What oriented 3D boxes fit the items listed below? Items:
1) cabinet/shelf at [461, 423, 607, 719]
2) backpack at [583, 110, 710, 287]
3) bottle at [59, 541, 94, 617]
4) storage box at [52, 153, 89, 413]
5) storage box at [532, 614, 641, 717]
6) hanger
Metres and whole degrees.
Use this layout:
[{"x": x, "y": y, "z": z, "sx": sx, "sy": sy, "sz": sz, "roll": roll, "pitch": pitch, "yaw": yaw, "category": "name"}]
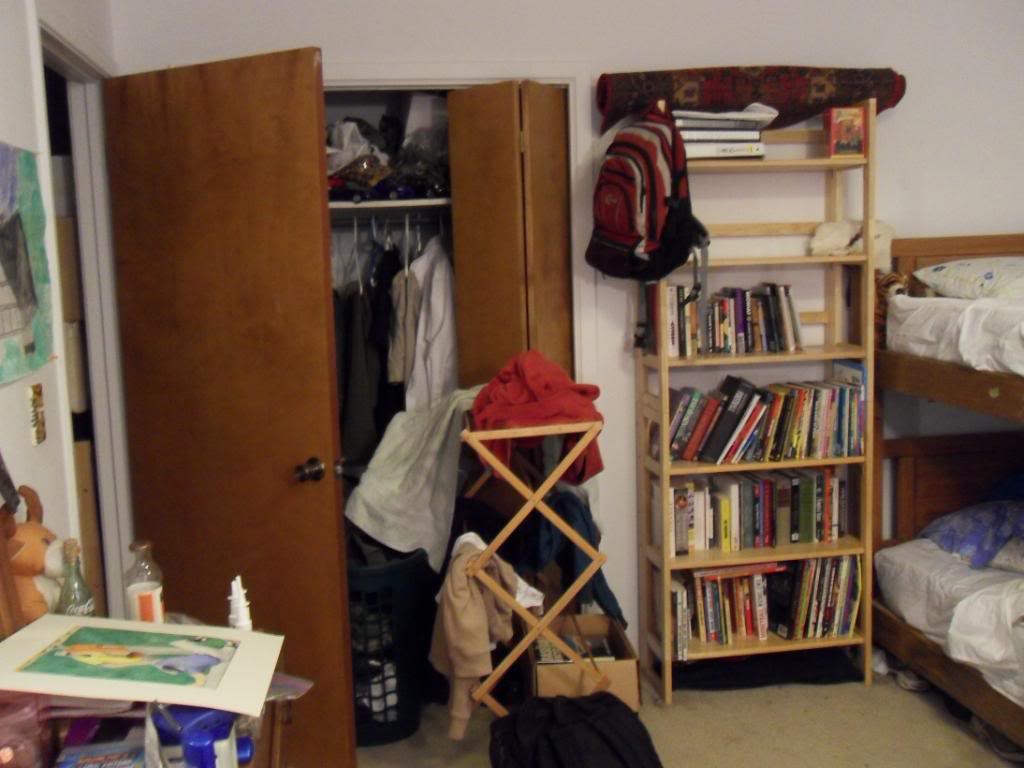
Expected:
[{"x": 0.106, "y": 0.736, "z": 3.705, "sx": 0.494, "sy": 1.270, "sz": 0.698, "roll": -1, "pitch": 7, "yaw": 4, "category": "cabinet/shelf"}, {"x": 0.514, "y": -0.748, "z": 3.823, "sx": 0.360, "sy": 0.624, "sz": 0.398, "roll": -8, "pitch": 18, "yaw": -30, "category": "backpack"}, {"x": -1.143, "y": 0.501, "z": 2.514, "sx": 0.082, "sy": 0.215, "sz": 0.284, "roll": -5, "pitch": 8, "yaw": -25, "category": "bottle"}, {"x": -1.644, "y": -0.361, "z": 3.587, "sx": 0.074, "sy": 0.948, "sz": 0.132, "roll": -5, "pitch": 7, "yaw": -24, "category": "storage box"}, {"x": 0.300, "y": 1.084, "z": 3.803, "sx": 0.300, "sy": 0.213, "sz": 0.329, "roll": 0, "pitch": 5, "yaw": 3, "category": "storage box"}, {"x": -0.648, "y": -0.651, "z": 4.373, "sx": 0.509, "sy": 0.364, "sz": 0.133, "roll": 0, "pitch": -7, "yaw": 6, "category": "hanger"}]
